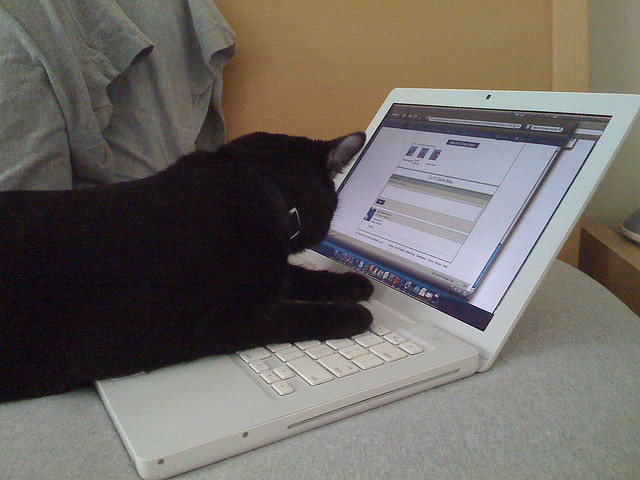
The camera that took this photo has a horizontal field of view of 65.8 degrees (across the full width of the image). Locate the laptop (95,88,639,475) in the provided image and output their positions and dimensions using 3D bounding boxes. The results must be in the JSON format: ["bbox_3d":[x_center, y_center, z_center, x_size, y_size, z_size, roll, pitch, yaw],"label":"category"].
[{"bbox_3d":[0.088,0.047,0.634,0.615,0.226,0.430,-20,30,-32],"label":"laptop"}]

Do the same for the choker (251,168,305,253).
[{"bbox_3d":[-0.031,-0.035,0.531,0.025,0.077,0.076,-34,72,-12],"label":"choker"}]
